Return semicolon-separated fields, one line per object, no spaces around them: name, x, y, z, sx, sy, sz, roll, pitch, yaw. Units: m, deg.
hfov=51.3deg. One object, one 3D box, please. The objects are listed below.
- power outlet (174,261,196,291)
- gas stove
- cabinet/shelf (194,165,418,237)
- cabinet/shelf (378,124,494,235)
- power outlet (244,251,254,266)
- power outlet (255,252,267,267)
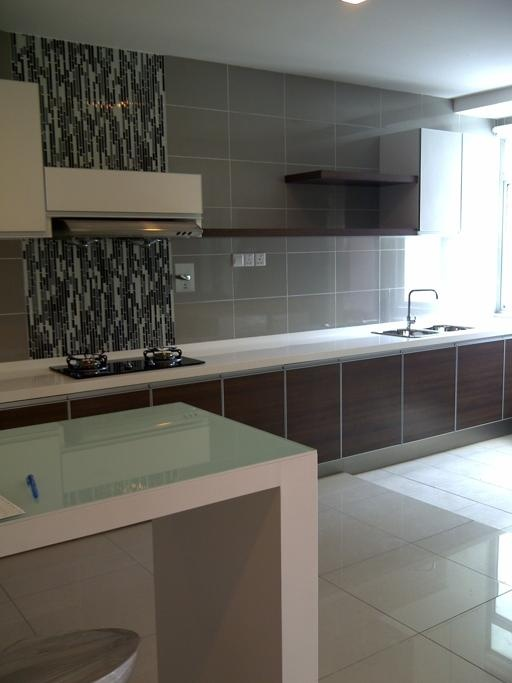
power outlet;-0.496;-0.453;3.650;0.172;0.259;0.034;-3;7;-31
gas stove;-0.755;0.116;3.141;0.841;0.124;0.534;-3;3;-31
cabinet/shelf;0.465;-1.018;4.006;1.783;0.556;0.399;-3;3;-31
cabinet/shelf;1.482;-1.354;4.473;0.948;0.868;0.487;-7;8;-40
power outlet;-0.036;-0.604;3.869;0.080;0.084;0.020;1;1;-26
power outlet;0.050;-0.611;3.920;0.085;0.094;0.020;-5;8;-34
